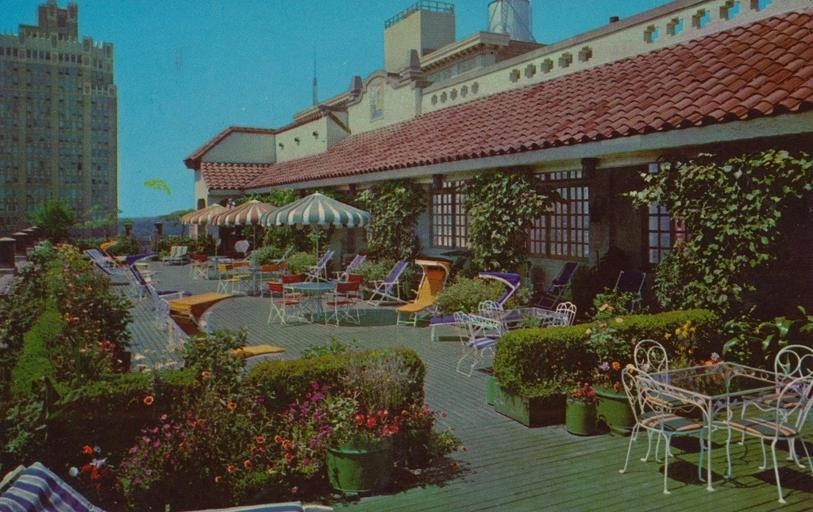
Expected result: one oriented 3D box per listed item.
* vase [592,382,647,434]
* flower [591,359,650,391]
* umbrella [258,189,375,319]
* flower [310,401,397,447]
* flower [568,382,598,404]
[{"bbox_3d":[3.384,2.531,10.841,0.665,0.493,0.669,-1,-3,-9],"label":"vase"},{"bbox_3d":[3.389,1.987,10.953,0.567,0.363,0.581,1,4,29],"label":"flower"},{"bbox_3d":[-2.747,-0.028,20.575,3.970,2.776,3.952,-1,1,-2],"label":"umbrella"},{"bbox_3d":[-0.824,2.464,9.675,0.816,0.438,0.799,1,-2,-22],"label":"flower"},{"bbox_3d":[2.855,2.245,10.892,0.313,0.210,0.315,-1,1,35],"label":"flower"}]
